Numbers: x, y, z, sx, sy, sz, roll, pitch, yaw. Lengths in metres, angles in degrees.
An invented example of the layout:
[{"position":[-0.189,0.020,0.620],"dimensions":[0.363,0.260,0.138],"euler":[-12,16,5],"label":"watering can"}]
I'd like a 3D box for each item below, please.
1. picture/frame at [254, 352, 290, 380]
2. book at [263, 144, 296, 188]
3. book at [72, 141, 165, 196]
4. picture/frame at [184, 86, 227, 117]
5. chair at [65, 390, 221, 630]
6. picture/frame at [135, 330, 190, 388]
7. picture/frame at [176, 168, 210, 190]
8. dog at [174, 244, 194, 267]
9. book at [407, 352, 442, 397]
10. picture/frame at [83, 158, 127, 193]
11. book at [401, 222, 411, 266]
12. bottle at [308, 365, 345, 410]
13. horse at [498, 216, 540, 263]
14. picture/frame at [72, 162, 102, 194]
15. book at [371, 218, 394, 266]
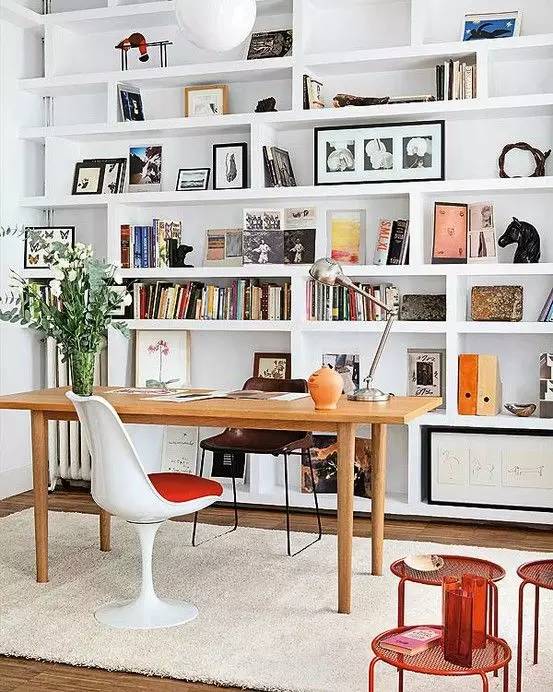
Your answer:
[{"position":[-0.023,0.127,3.939],"dimensions":[0.151,0.155,0.012],"euler":[2,-8,20],"label":"picture/frame"},{"position":[0.013,-1.092,3.824],"dimensions":[0.096,0.302,0.294],"euler":[-7,4,26],"label":"book"},{"position":[-1.052,-1.201,4.257],"dimensions":[0.458,0.301,0.063],"euler":[-2,-14,9],"label":"book"},{"position":[-0.446,-1.568,4.016],"dimensions":[0.271,0.197,0.028],"euler":[1,-4,6],"label":"picture/frame"},{"position":[-0.496,0.557,2.539],"dimensions":[0.722,1.006,0.600],"euler":[-2,5,-33],"label":"chair"},{"position":[-0.741,0.074,4.031],"dimensions":[0.370,0.461,0.030],"euler":[0,0,-3],"label":"picture/frame"},{"position":[-0.539,-1.092,4.096],"dimensions":[0.178,0.151,0.012],"euler":[3,-20,13],"label":"picture/frame"},{"position":[-0.613,-0.580,4.077],"dimensions":[0.165,0.198,0.115],"euler":[-2,11,-2],"label":"dog"},{"position":[0.881,0.169,3.674],"dimensions":[0.249,0.322,0.031],"euler":[1,1,18],"label":"book"},{"position":[-1.114,-1.153,4.218],"dimensions":[0.225,0.231,0.052],"euler":[5,-1,21],"label":"picture/frame"},{"position":[0.743,-0.592,3.568],"dimensions":[0.040,0.250,0.075],"euler":[2,3,10],"label":"book"},{"position":[0.174,0.147,2.239],"dimensions":[0.113,0.146,0.150],"euler":[2,3,4],"label":"bottle"},{"position":[1.331,-0.578,3.419],"dimensions":[0.211,0.266,0.169],"euler":[3,3,19],"label":"horse"},{"position":[-1.290,-1.146,4.279],"dimensions":[0.239,0.283,0.020],"euler":[-1,-17,11],"label":"picture/frame"},{"position":[0.617,-0.595,3.599],"dimensions":[0.199,0.213,0.216],"euler":[5,-4,-2],"label":"book"}]
